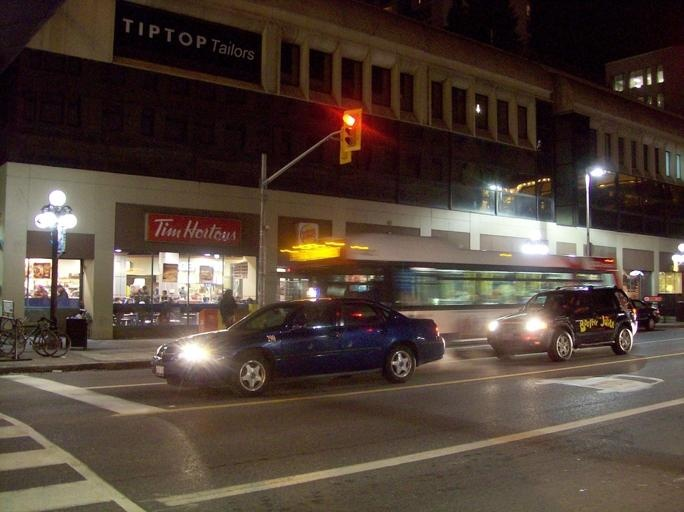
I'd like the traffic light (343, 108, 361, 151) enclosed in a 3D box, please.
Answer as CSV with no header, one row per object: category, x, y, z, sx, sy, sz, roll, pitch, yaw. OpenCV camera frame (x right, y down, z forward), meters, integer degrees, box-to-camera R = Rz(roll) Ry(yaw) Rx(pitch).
traffic light,0.331,-4.094,20.182,0.562,1.304,0.425,0,1,12

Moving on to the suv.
suv,6.632,2.095,18.959,4.245,1.999,2.037,5,-10,-30

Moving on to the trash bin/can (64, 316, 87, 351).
trash bin/can,-9.068,2.547,21.412,0.789,1.195,0.799,9,18,1

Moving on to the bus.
bus,5.802,1.291,25.533,12.256,3.458,2.911,2,6,-10
